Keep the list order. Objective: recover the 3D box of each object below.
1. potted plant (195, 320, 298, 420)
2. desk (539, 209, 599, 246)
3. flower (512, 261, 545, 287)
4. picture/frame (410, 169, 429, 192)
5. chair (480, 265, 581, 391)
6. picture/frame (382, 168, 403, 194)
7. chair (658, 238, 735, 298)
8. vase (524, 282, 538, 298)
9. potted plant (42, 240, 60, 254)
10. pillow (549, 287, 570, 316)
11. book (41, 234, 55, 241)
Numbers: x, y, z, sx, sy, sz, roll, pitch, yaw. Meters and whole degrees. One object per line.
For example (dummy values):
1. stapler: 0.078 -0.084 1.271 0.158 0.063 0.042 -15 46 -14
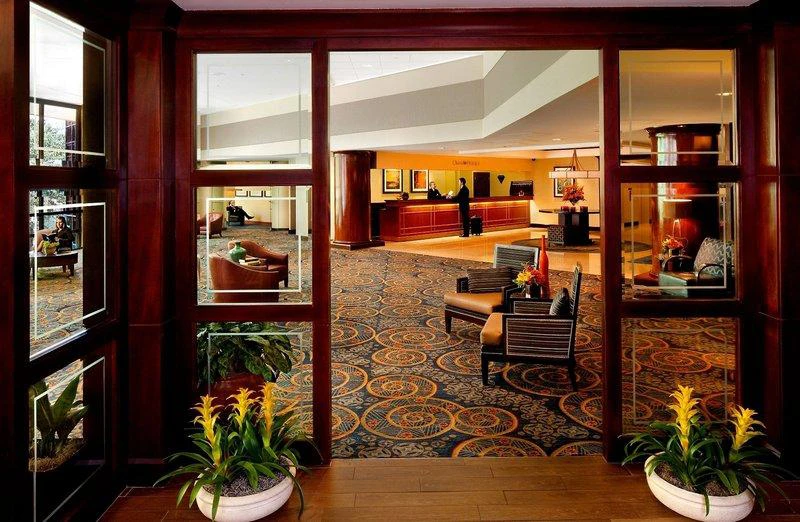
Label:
1. potted plant: -1.103 0.775 4.022 0.713 0.592 0.654 0 -5 -2
2. desk: 4.951 -0.936 15.576 1.198 0.740 1.039 -10 13 -22
3. flower: 1.435 0.146 5.998 0.275 0.212 0.261 -1 3 17
4. picture/frame: 0.755 -3.087 20.895 1.273 1.124 0.087 -1 3 -43
5. chair: 1.242 0.693 5.780 1.301 1.257 0.946 2 5 9
6. picture/frame: -0.261 -2.924 19.777 0.108 0.859 1.122 6 7 42
7. chair: 2.096 0.031 4.157 0.547 0.508 0.404 1 2 -3
8. vase: 1.448 0.316 5.923 0.165 0.162 0.153 0 -1 -1
9. potted plant: -2.007 -0.081 3.159 0.065 0.043 0.063 3 1 13
10. pillow: 1.599 0.410 5.456 0.184 0.303 0.310 15 -4 9
11. book: -2.014 -0.139 3.143 0.035 0.030 0.046 -12 -3 25
